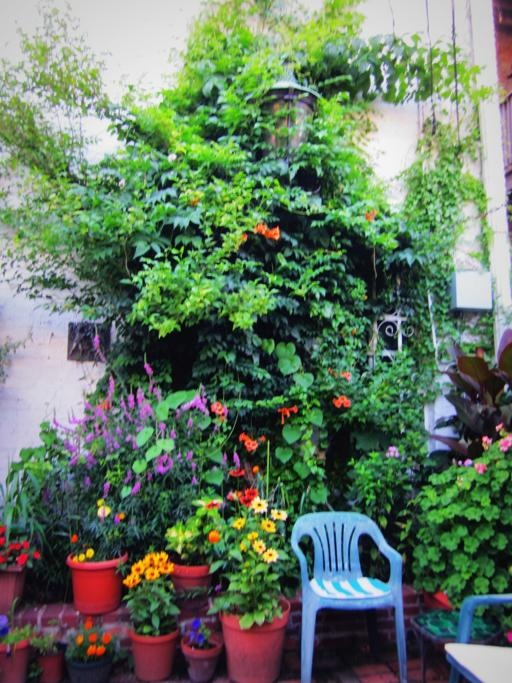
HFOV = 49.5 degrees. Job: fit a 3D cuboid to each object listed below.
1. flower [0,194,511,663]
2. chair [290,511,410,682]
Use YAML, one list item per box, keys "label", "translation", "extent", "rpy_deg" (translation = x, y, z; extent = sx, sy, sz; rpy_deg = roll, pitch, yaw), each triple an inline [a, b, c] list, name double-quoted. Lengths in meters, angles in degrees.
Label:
- label: "flower"
  translation: [-0.158, 0.693, 2.883]
  extent: [2.255, 1.091, 1.123]
  rpy_deg: [1, -2, 5]
- label: "chair"
  translation: [0.347, 1.141, 2.480]
  extent: [0.435, 0.910, 0.636]
  rpy_deg: [1, -25, -2]
